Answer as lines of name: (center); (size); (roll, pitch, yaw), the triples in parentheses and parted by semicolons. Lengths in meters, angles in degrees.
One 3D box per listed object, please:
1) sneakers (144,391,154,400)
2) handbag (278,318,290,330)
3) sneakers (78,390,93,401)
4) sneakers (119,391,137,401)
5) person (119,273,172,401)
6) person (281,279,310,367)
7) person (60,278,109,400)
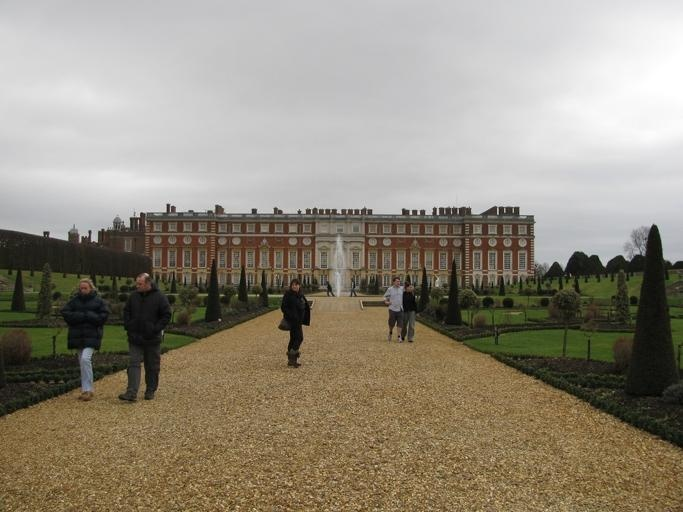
sneakers: (-3.005, 2.180, 10.602); (0.073, 0.148, 0.199); (1, 0, -2)
handbag: (-1.054, 1.287, 12.583); (0.187, 0.208, 0.197); (2, 5, 3)
sneakers: (-3.970, 2.178, 10.546); (0.103, 0.220, 0.223); (0, -20, 1)
sneakers: (-3.297, 2.177, 10.441); (0.236, 0.176, 0.137); (12, -10, -4)
person: (-3.065, 1.256, 10.581); (0.823, 2.026, 0.600); (-3, 10, -18)
person: (-0.875, 1.303, 13.135); (0.534, 1.823, 1.328); (-1, 10, -4)
person: (-3.935, 1.317, 10.447); (0.648, 1.919, 0.459); (-5, 11, -25)
